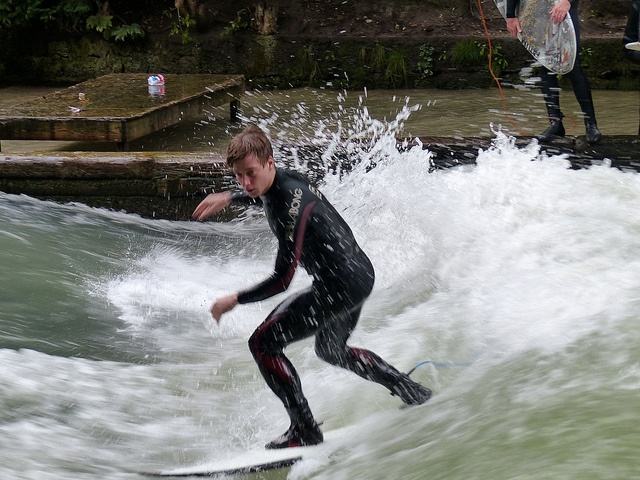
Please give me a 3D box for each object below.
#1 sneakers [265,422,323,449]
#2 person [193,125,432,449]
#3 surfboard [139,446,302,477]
[{"bbox_3d":[-0.253,1.417,5.767,0.536,0.145,0.141,-2,6,6],"label":"sneakers"},{"bbox_3d":[-0.106,0.355,5.572,1.206,2.328,0.345,-13,15,-6],"label":"person"},{"bbox_3d":[-0.652,1.587,5.720,1.142,0.146,0.208,-5,11,-1],"label":"surfboard"}]
